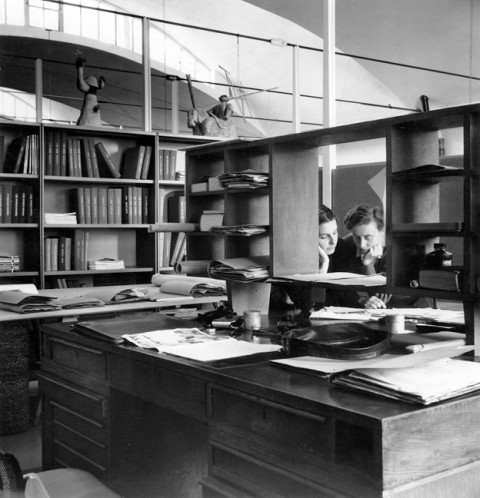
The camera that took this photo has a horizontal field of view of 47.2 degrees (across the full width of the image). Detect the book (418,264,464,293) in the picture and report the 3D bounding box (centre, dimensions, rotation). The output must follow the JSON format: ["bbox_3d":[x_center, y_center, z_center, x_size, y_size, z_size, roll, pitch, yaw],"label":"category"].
[{"bbox_3d":[0.640,0.097,1.751,0.047,0.068,0.151,-5,4,-34],"label":"book"}]
